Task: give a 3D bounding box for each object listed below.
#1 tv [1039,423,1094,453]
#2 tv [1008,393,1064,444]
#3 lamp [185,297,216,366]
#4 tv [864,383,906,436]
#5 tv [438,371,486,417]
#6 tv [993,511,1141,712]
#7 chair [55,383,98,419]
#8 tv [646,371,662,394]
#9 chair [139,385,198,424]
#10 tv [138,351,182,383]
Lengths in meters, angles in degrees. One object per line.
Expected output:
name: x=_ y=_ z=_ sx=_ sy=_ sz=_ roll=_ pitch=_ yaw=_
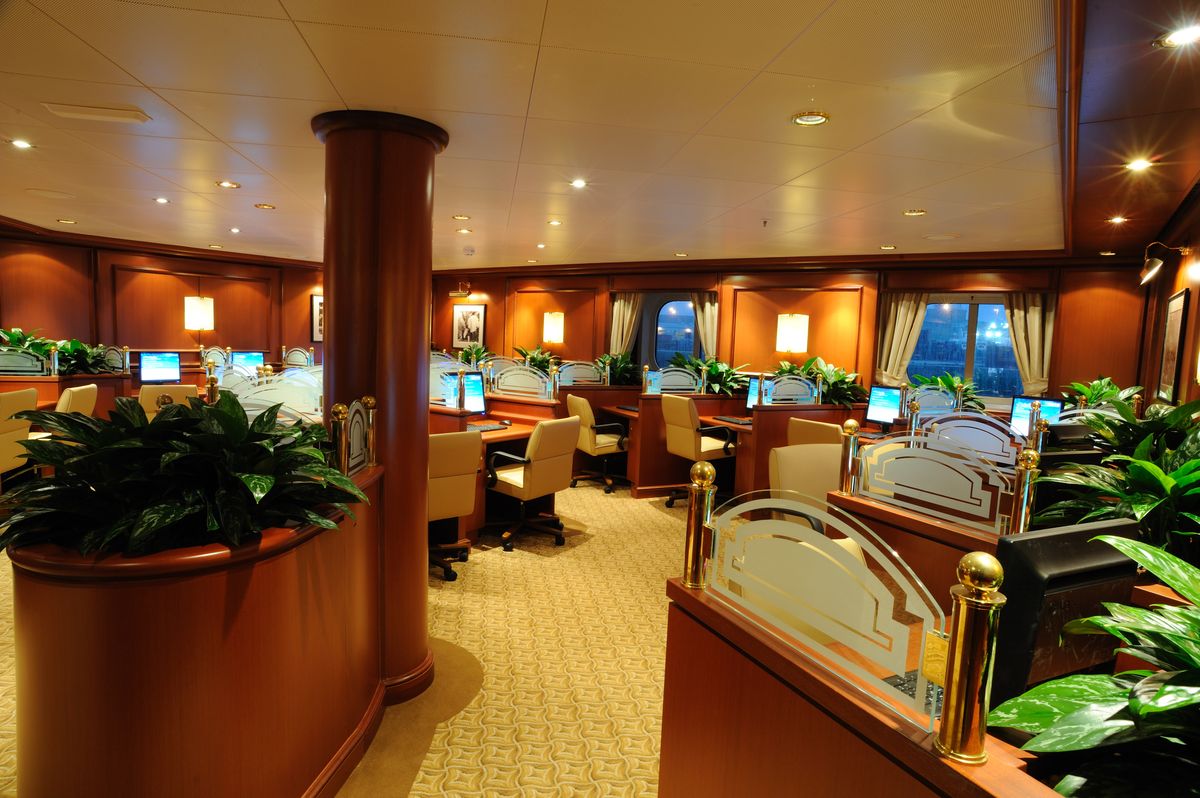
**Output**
tv: x=2.313 y=0.182 z=3.730 sx=0.431 sy=0.123 sz=0.142 roll=-2 pitch=3 yaw=-37
tv: x=3.177 y=0.149 z=5.564 sx=0.307 sy=0.312 sz=0.253 roll=0 pitch=26 yaw=9
lamp: x=-5.655 y=-0.978 z=10.796 sx=0.400 sy=0.928 sz=0.709 roll=-1 pitch=2 yaw=-28
tv: x=2.715 y=0.129 z=7.242 sx=0.176 sy=0.471 sz=0.448 roll=1 pitch=2 yaw=-37
tv: x=-1.111 y=-0.037 z=6.501 sx=0.324 sy=0.361 sz=0.557 roll=9 pitch=7 yaw=20
tv: x=1.459 y=0.687 z=2.377 sx=0.582 sy=0.577 sz=0.190 roll=-2 pitch=-3 yaw=-30
chair: x=-4.176 y=0.019 z=6.074 sx=0.272 sy=0.264 sz=0.250 roll=8 pitch=10 yaw=27
tv: x=0.575 y=-0.156 z=7.735 sx=0.228 sy=0.211 sz=0.098 roll=-2 pitch=3 yaw=-41
chair: x=-2.825 y=0.031 z=4.983 sx=0.211 sy=0.282 sz=0.227 roll=0 pitch=26 yaw=-24
tv: x=-5.482 y=-0.370 z=9.510 sx=0.442 sy=0.409 sz=0.226 roll=0 pitch=-2 yaw=-43
